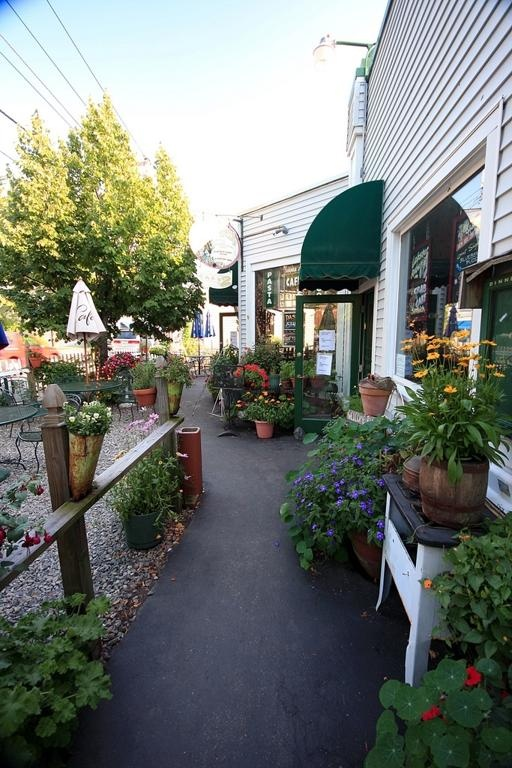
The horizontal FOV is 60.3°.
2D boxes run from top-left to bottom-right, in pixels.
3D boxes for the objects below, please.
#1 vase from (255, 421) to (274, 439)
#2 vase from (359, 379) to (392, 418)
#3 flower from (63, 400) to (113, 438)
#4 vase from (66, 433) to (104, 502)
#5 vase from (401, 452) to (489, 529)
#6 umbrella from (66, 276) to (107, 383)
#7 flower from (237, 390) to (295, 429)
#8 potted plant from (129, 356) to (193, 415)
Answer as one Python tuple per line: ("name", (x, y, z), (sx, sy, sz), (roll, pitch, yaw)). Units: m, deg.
("vase", (0.160, 0.660, 6.379), (0.229, 0.261, 0.275), (-2, 8, 1))
("vase", (1.018, 0.120, 3.902), (0.287, 0.345, 0.317), (-1, 6, -29))
("flower", (-0.753, 0.182, 2.126), (0.157, 0.141, 0.216), (0, 8, 13))
("vase", (-0.771, 0.384, 2.161), (0.131, 0.326, 0.205), (-2, 8, 0))
("vase", (0.728, 0.415, 1.682), (0.233, 0.269, 0.229), (2, 8, 26))
("umbrella", (-2.886, -0.924, 7.945), (0.609, 1.893, 1.935), (-5, 8, -20))
("flower", (0.162, 0.423, 6.602), (0.866, 0.599, 0.628), (1, 8, 19))
("potted plant", (-1.346, 0.064, 6.447), (0.856, 0.981, 0.902), (-12, 11, -11))
